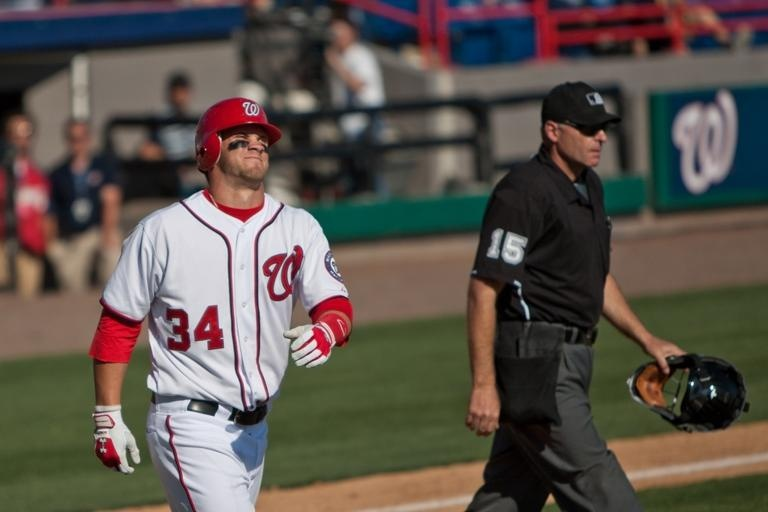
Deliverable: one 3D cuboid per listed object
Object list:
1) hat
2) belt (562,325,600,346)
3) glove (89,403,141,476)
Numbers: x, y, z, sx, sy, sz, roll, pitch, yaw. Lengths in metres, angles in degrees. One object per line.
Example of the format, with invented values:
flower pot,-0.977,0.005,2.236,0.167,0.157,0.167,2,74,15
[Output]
hat,1.714,-1.308,13.997,0.718,0.425,0.541,-2,2,33
belt,1.667,0.684,13.754,0.221,0.096,0.165,4,2,-4
glove,-2.213,1.549,13.492,0.322,0.644,0.334,-11,14,-17
